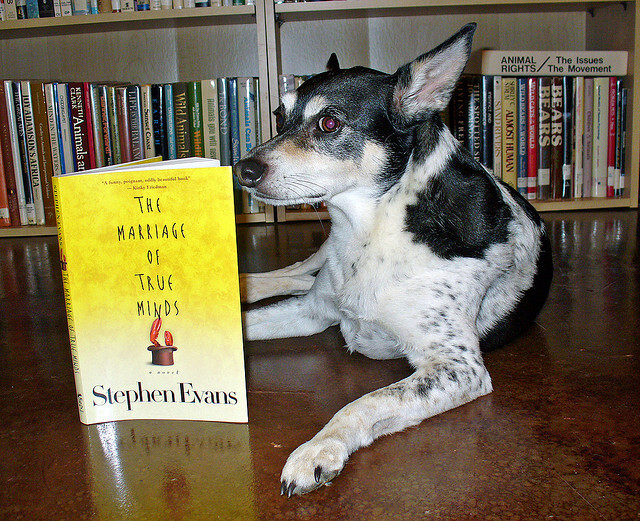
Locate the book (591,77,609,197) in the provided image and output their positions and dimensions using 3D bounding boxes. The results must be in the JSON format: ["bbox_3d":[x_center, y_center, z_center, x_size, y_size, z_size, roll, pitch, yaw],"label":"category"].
[{"bbox_3d":[1.644,-0.717,3.636,0.095,0.678,0.097,-2,17,10],"label":"book"}]

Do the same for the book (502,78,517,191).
[{"bbox_3d":[1.109,-0.735,3.625,0.111,0.631,0.076,-6,17,-2],"label":"book"}]

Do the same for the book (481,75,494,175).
[{"bbox_3d":[0.970,-0.793,3.592,0.073,0.535,0.075,-1,18,14],"label":"book"}]

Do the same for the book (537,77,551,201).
[{"bbox_3d":[1.315,-0.710,3.638,0.084,0.692,0.101,0,18,18],"label":"book"}]

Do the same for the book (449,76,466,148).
[{"bbox_3d":[0.792,-0.852,3.562,0.097,0.384,0.132,-2,17,11],"label":"book"}]

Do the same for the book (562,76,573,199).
[{"bbox_3d":[1.455,-0.716,3.638,0.064,0.694,0.087,-1,18,13],"label":"book"}]

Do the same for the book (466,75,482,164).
[{"bbox_3d":[0.899,-0.828,3.624,0.087,0.487,0.175,-1,17,14],"label":"book"}]

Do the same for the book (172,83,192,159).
[{"bbox_3d":[-0.807,-0.811,3.609,0.082,0.418,0.124,9,22,38],"label":"book"}]

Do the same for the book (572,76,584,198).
[{"bbox_3d":[1.513,-0.716,3.639,0.063,0.688,0.077,-1,18,14],"label":"book"}]

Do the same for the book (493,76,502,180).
[{"bbox_3d":[1.031,-0.767,3.597,0.049,0.574,0.108,0,18,15],"label":"book"}]

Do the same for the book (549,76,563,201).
[{"bbox_3d":[1.384,-0.716,3.640,0.075,0.694,0.106,1,18,19],"label":"book"}]

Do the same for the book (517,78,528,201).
[{"bbox_3d":[1.191,-0.713,3.643,0.063,0.684,0.088,1,18,18],"label":"book"}]

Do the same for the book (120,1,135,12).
[{"bbox_3d":[-1.071,-1.412,3.457,0.089,0.065,0.026,-1,-2,2],"label":"book"}]
